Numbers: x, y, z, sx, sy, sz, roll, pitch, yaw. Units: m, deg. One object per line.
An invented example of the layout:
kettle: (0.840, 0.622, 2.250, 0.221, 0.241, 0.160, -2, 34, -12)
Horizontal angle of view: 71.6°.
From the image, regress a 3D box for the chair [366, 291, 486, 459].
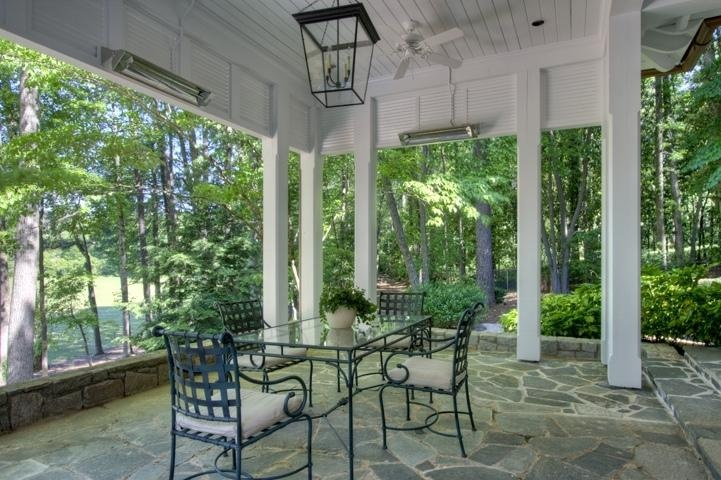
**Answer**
chair: (0.987, 1.526, 6.252, 1.608, 2.351, 1.346, 1, -2, 21)

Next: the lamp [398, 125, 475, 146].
lamp: (1.248, -1.649, 7.896, 1.037, 0.231, 0.228, 1, -28, 16)

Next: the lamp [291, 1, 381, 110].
lamp: (-0.240, -1.947, 5.411, 0.786, 0.980, 0.473, -5, -5, 14)

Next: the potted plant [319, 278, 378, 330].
potted plant: (-0.144, 0.757, 5.772, 0.520, 0.353, 0.514, 0, -3, 11)
